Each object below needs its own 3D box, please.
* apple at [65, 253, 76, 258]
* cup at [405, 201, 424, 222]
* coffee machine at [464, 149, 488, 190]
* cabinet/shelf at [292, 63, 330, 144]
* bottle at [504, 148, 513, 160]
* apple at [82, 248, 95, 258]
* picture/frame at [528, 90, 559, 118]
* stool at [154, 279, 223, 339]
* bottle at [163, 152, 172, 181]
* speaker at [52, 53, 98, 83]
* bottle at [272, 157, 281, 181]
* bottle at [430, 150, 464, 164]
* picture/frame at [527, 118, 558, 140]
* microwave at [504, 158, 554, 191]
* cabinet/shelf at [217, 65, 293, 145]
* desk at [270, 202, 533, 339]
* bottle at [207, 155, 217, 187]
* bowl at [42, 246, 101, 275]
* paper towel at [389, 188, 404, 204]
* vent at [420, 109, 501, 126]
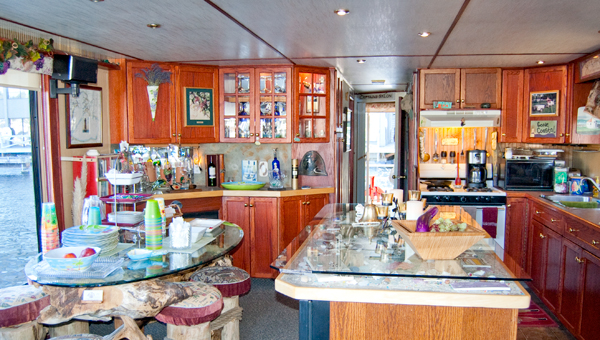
[{"bbox_3d":[-2.049,0.759,3.784,0.060,0.046,0.058,4,7,32],"label":"apple"},{"bbox_3d":[1.153,0.426,4.446,0.226,0.213,0.215,0,3,0],"label":"cup"},{"bbox_3d":[2.782,-0.033,6.705,0.287,0.583,0.294,0,7,15],"label":"coffee machine"},{"bbox_3d":[0.178,-1.029,6.650,0.666,1.163,0.162,-6,8,-30],"label":"cabinet/shelf"},{"bbox_3d":[3.265,-0.269,6.635,0.122,0.162,0.294,1,6,22],"label":"bottle"},{"bbox_3d":[-1.895,0.737,3.791,0.102,0.065,0.076,-19,-20,11],"label":"apple"},{"bbox_3d":[3.634,-0.986,6.291,0.503,0.428,0.038,3,5,36],"label":"picture/frame"},{"bbox_3d":[-1.095,1.340,4.287,0.659,0.462,0.589,0,4,-5],"label":"stool"},{"bbox_3d":[-2.086,-0.054,6.646,0.112,0.444,0.231,-5,7,-17],"label":"bottle"},{"bbox_3d":[-2.825,-1.217,5.440,0.363,0.402,0.624,4,3,18],"label":"speaker"},{"bbox_3d":[-0.384,-0.031,6.830,0.152,0.367,0.329,-3,6,-4],"label":"bottle"},{"bbox_3d":[2.423,-0.223,7.024,0.411,0.139,0.223,3,5,36],"label":"bottle"},{"bbox_3d":[3.634,-0.612,6.320,0.398,0.245,0.051,2,6,26],"label":"picture/frame"},{"bbox_3d":[3.412,0.060,6.410,0.931,0.531,0.471,0,0,16],"label":"microwave"},{"bbox_3d":[-0.670,-1.067,6.574,1.454,1.122,0.443,0,2,3],"label":"cabinet/shelf"},{"bbox_3d":[0.826,0.960,3.830,1.446,0.614,1.933,0,3,4],"label":"desk"},{"bbox_3d":[-1.405,0.004,6.748,0.158,0.496,0.156,-2,7,0],"label":"bottle"},{"bbox_3d":[-2.040,0.792,3.844,0.385,0.116,0.298,0,-2,0],"label":"bowl"},{"bbox_3d":[1.080,0.290,4.720,0.197,0.182,0.180,2,8,13],"label":"paper towel"},{"bbox_3d":[2.463,-0.805,6.515,1.193,0.278,0.223,-2,6,-1],"label":"vent"}]
